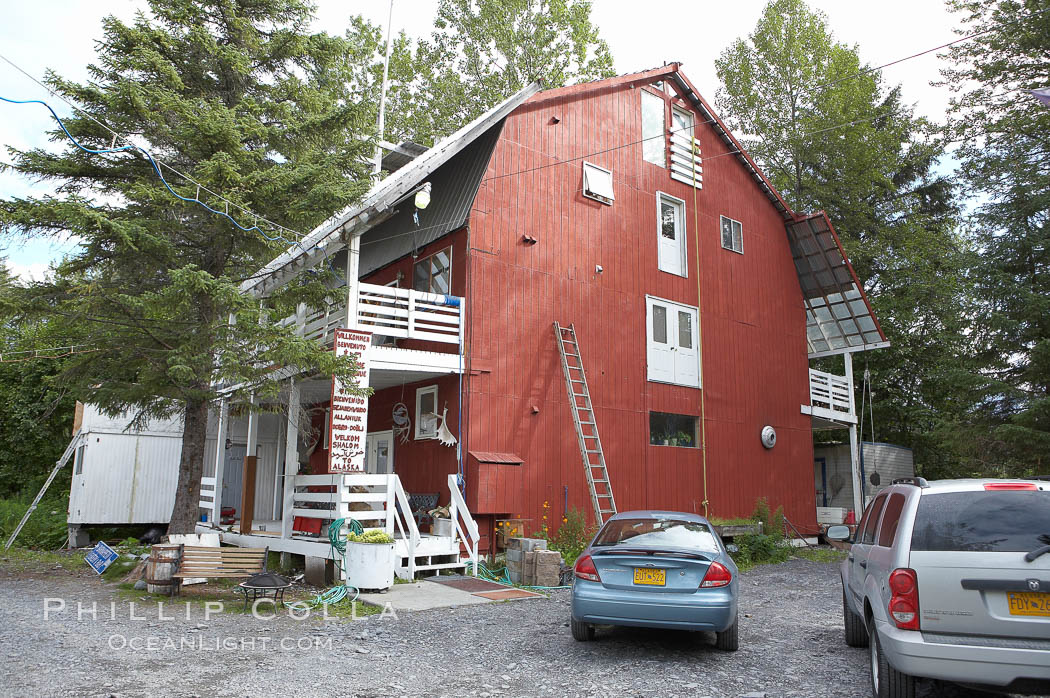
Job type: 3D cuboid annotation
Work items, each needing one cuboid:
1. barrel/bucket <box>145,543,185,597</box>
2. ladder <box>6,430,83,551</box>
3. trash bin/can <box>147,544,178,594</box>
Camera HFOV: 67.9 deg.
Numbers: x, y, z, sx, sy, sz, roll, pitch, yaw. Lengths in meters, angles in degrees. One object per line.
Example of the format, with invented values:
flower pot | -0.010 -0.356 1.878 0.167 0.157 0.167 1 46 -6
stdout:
barrel/bucket | -7.147 4.286 15.026 0.854 1.202 0.845 1 -16 0
ladder | -15.782 4.795 25.423 0.401 3.833 0.633 38 -15 -8
trash bin/can | -7.028 4.323 15.087 0.647 0.960 0.332 1 -4 -4
